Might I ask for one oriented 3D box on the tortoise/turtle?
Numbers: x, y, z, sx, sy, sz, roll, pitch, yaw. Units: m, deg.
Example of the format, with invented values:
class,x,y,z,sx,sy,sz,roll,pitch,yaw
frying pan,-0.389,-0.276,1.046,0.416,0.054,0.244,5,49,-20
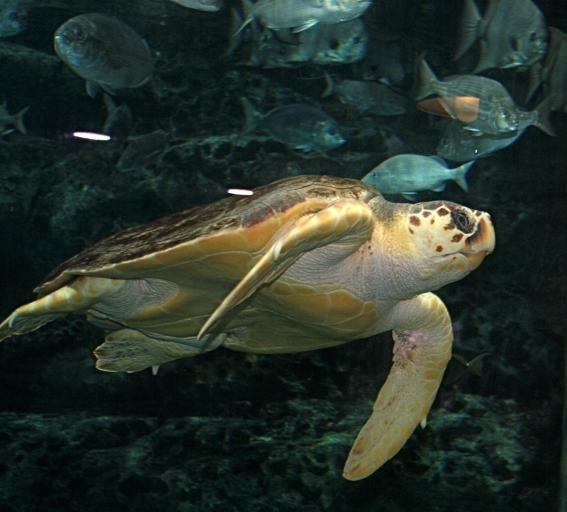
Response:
class,x,y,z,sx,sy,sz,roll,pitch,yaw
tortoise/turtle,-0.177,0.202,2.922,1.644,1.122,0.594,12,28,-6
